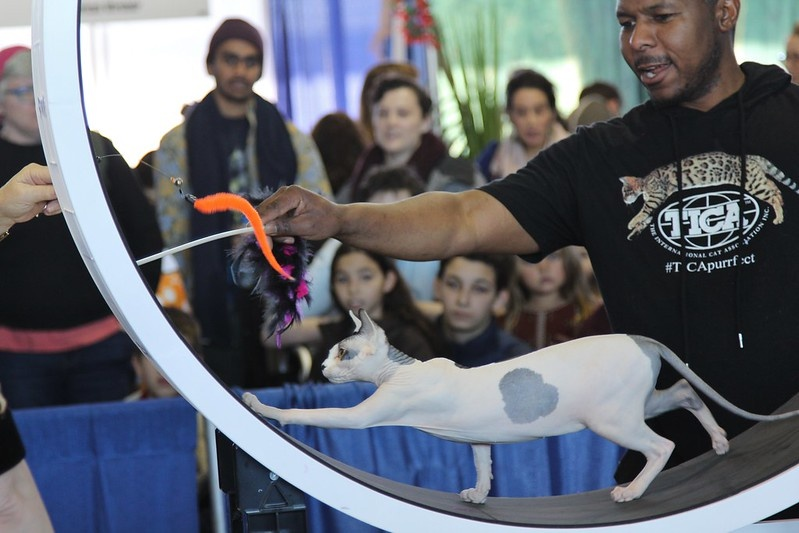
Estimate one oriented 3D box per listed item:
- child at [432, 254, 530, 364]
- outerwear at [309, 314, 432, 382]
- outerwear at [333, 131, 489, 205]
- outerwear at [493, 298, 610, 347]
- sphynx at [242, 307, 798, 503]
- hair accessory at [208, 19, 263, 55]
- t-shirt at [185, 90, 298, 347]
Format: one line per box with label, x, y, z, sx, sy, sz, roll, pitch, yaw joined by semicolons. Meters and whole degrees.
child;0.224;0.121;4.563;0.285;0.227;0.163;-5;-8;16
outerwear;-0.080;0.219;4.569;0.284;0.097;0.196;-4;0;-6
outerwear;0.018;-0.251;4.890;0.424;0.178;0.339;9;-20;-29
outerwear;0.451;0.165;4.657;0.216;0.076;0.150;-13;4;-32
sphynx;0.259;0.275;3.763;1.319;0.495;0.367;-6;9;1
hair accessory;-0.442;-0.632;4.383;0.111;0.062;0.107;1;-15;-4
t-shirt;-0.443;-0.127;4.558;0.357;0.655;0.116;-7;8;-31
